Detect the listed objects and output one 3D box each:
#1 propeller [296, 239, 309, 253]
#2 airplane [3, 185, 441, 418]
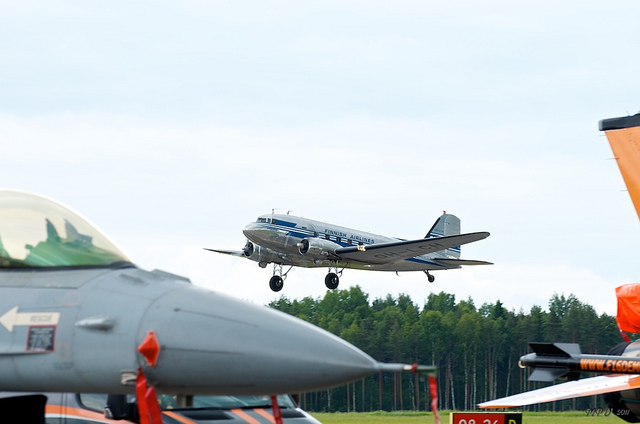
[{"bbox_3d":[-0.523,1.144,36.610,0.454,0.501,0.185,0,-39,-3],"label":"propeller"},{"bbox_3d":[-1.575,1.199,12.478,3.789,0.997,3.085,8,2,6],"label":"airplane"}]
